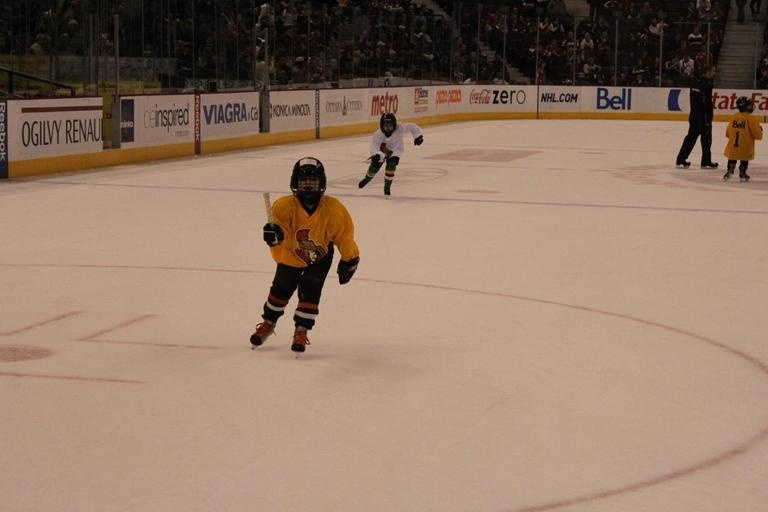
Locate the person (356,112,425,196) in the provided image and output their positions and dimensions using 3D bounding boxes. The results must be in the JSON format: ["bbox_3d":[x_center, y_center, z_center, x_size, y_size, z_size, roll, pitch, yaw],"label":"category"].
[{"bbox_3d":[0.083,-2.014,14.305,0.857,1.557,1.438,4,12,11],"label":"person"}]

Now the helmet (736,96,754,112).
[{"bbox_3d":[7.524,-3.148,15.178,0.281,0.309,0.568,6,13,22],"label":"helmet"}]

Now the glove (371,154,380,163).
[{"bbox_3d":[-0.179,-1.888,14.000,0.155,0.124,0.128,-1,11,-4],"label":"glove"}]

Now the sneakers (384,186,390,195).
[{"bbox_3d":[0.056,-1.262,14.145,0.134,0.153,0.224,1,12,-1],"label":"sneakers"}]

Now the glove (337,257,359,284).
[{"bbox_3d":[-0.312,0.116,6.181,0.186,0.221,0.231,7,7,21],"label":"glove"}]

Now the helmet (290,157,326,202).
[{"bbox_3d":[-0.607,-0.635,6.041,0.287,0.336,0.358,0,5,-3],"label":"helmet"}]

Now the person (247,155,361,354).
[{"bbox_3d":[-0.670,0.003,6.019,0.890,1.598,0.387,-1,12,-11],"label":"person"}]

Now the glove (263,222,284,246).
[{"bbox_3d":[-0.905,-0.178,5.948,0.174,0.177,0.149,3,10,-21],"label":"glove"}]

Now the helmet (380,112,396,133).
[{"bbox_3d":[0.065,-2.490,13.657,0.285,0.356,0.371,0,-14,-1],"label":"helmet"}]

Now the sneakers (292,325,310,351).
[{"bbox_3d":[-0.711,0.680,6.049,0.106,0.101,0.241,3,13,-4],"label":"sneakers"}]
